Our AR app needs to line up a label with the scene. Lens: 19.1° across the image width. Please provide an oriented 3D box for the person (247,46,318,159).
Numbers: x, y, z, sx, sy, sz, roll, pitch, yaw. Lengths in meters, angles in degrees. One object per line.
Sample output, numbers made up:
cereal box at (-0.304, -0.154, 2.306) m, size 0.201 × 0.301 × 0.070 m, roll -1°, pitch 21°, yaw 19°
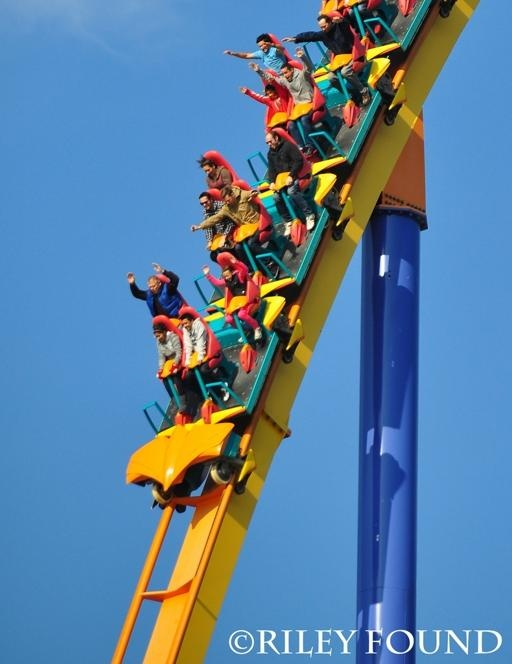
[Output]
person at (0.381, -2.527, 17.009) m, size 0.709 × 1.231 × 0.577 m, roll -13°, pitch -1°, yaw -6°

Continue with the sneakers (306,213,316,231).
sneakers at (0.579, -1.185, 16.057) m, size 0.062 × 0.217 × 0.086 m, roll -1°, pitch -16°, yaw 27°

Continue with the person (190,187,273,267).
person at (-0.199, -1.237, 16.426) m, size 0.734 × 0.802 × 0.640 m, roll -25°, pitch -6°, yaw 18°

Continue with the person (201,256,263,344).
person at (-0.192, -0.367, 15.903) m, size 0.411 × 0.922 × 0.398 m, roll -18°, pitch 10°, yaw -1°

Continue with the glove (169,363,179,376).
glove at (-0.858, 0.386, 15.840) m, size 0.066 × 0.109 × 0.035 m, roll 1°, pitch -5°, yaw 29°

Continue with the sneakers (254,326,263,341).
sneakers at (0.010, 0.005, 15.519) m, size 0.074 × 0.128 × 0.124 m, roll 1°, pitch -26°, yaw -3°

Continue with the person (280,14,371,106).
person at (0.827, -3.020, 17.010) m, size 0.699 × 1.078 × 0.658 m, roll -24°, pitch 5°, yaw 12°

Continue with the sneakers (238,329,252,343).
sneakers at (-0.107, 0.031, 15.748) m, size 0.083 × 0.116 × 0.360 m, roll -1°, pitch -18°, yaw 7°
